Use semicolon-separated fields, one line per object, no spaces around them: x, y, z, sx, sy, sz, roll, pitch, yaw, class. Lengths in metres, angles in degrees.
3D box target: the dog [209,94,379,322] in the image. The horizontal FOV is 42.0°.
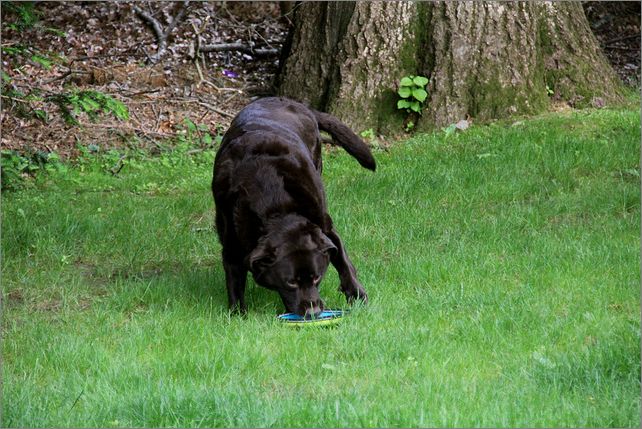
-0.407;-0.069;9.822;1.825;1.971;3.357;0;47;3;dog
